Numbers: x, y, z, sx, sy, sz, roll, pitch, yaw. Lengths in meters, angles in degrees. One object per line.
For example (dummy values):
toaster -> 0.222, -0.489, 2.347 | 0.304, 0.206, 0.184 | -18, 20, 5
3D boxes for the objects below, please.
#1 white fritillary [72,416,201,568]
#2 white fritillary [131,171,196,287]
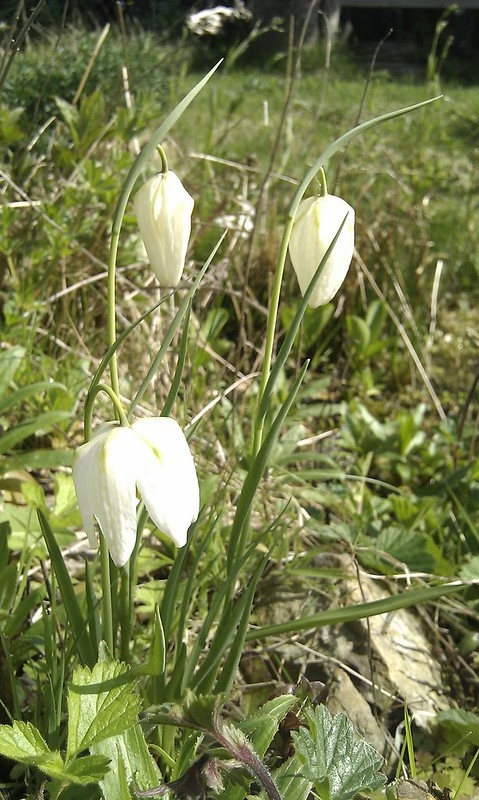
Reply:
white fritillary -> -0.077, 0.085, 0.677 | 0.099, 0.128, 0.095 | -4, 2, 22
white fritillary -> -0.102, -0.212, 0.848 | 0.072, 0.172, 0.115 | 8, 29, -8
